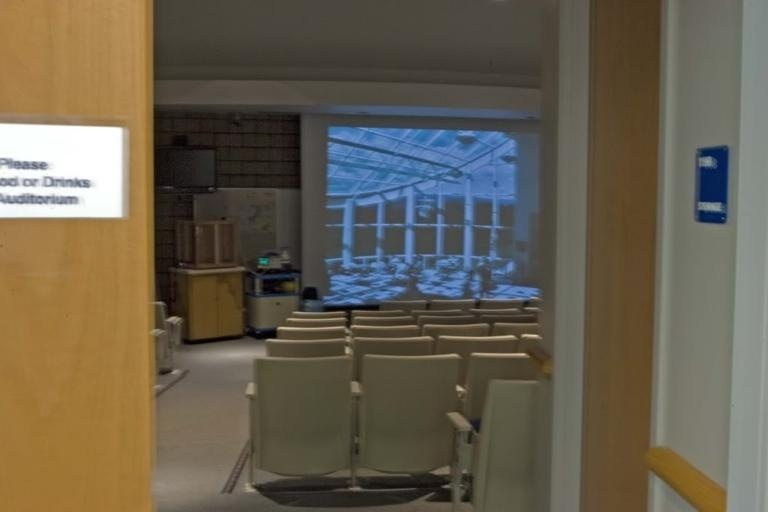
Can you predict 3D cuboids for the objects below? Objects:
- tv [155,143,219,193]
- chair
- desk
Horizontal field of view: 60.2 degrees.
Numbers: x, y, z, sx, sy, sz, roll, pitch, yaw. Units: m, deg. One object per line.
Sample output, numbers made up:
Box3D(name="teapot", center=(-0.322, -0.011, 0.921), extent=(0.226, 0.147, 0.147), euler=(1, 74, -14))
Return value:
Box3D(name="tv", center=(-3.000, -1.319, 10.074), extent=(0.866, 0.670, 0.348), euler=(-2, 4, -19))
Box3D(name="chair", center=(0.227, 0.898, 3.606), extent=(1.463, 1.119, 0.986), euler=(1, 4, 22))
Box3D(name="desk", center=(-2.378, 0.616, 9.428), extent=(0.869, 0.917, 0.744), euler=(-2, 9, -21))
